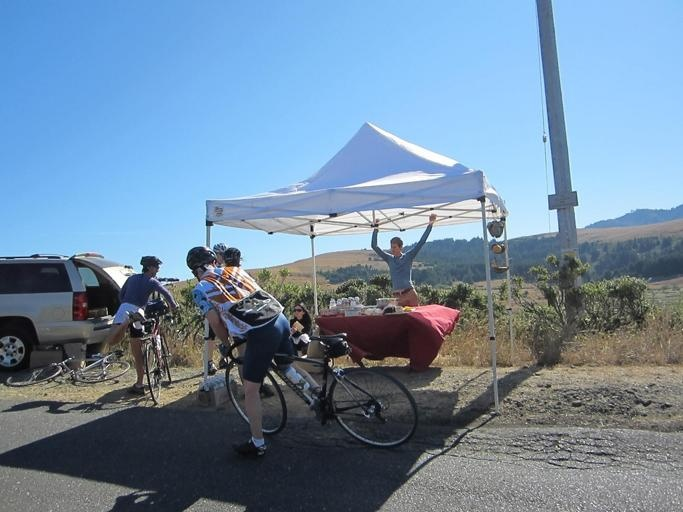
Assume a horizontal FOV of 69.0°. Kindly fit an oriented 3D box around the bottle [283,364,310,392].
[{"bbox_3d":[-0.569,1.579,6.345,0.347,0.201,0.094,43,3,12],"label":"bottle"}]

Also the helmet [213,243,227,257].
[{"bbox_3d":[-1.897,-0.081,7.773,0.193,0.208,0.156,-18,27,-34],"label":"helmet"}]

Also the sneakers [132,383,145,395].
[{"bbox_3d":[-3.535,2.362,8.684,0.309,0.162,0.126,6,0,13],"label":"sneakers"}]

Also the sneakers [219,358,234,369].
[{"bbox_3d":[-1.572,1.484,6.792,0.147,0.123,0.165,1,2,4],"label":"sneakers"}]

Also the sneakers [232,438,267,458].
[{"bbox_3d":[-1.140,2.415,6.301,0.427,0.225,0.172,7,1,13],"label":"sneakers"}]

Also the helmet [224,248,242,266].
[{"bbox_3d":[-1.469,0.020,6.721,0.183,0.296,0.221,2,6,3],"label":"helmet"}]

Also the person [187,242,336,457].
[{"bbox_3d":[-1.139,1.192,6.249,1.426,2.630,0.654,-3,5,-13],"label":"person"}]

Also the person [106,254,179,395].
[{"bbox_3d":[-3.411,1.233,8.495,1.064,2.433,0.805,-4,5,-24],"label":"person"}]

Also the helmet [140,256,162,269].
[{"bbox_3d":[-2.770,0.100,7.203,0.167,0.091,0.148,-10,-6,3],"label":"helmet"}]

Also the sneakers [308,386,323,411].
[{"bbox_3d":[-0.329,1.817,6.294,0.096,0.297,0.188,2,-1,-10],"label":"sneakers"}]
